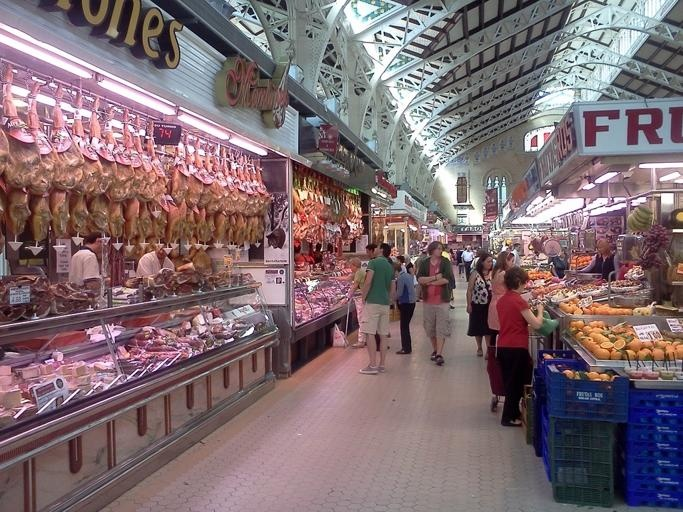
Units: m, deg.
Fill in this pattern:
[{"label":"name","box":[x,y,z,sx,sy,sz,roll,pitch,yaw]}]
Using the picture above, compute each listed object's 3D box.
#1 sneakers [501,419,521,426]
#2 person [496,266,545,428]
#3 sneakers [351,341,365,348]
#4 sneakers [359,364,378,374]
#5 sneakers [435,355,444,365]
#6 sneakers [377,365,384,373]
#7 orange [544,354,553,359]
[{"label":"sneakers","box":[1.666,1.633,5.088,0.205,0.090,0.072,3,2,1]},{"label":"person","box":[1.714,0.886,4.949,0.375,1.559,0.507,-1,1,-45]},{"label":"sneakers","box":[0.287,1.516,8.898,0.226,0.170,0.087,3,1,-1]},{"label":"sneakers","box":[0.365,1.530,7.022,0.199,0.093,0.122,1,-1,13]},{"label":"sneakers","box":[1.438,1.510,7.532,0.116,0.127,0.202,0,2,11]},{"label":"sneakers","box":[0.533,1.544,7.065,0.068,0.062,0.139,0,-6,5]},{"label":"orange","box":[1.796,0.870,4.446,0.040,0.058,0.055,26,-21,-8]}]
